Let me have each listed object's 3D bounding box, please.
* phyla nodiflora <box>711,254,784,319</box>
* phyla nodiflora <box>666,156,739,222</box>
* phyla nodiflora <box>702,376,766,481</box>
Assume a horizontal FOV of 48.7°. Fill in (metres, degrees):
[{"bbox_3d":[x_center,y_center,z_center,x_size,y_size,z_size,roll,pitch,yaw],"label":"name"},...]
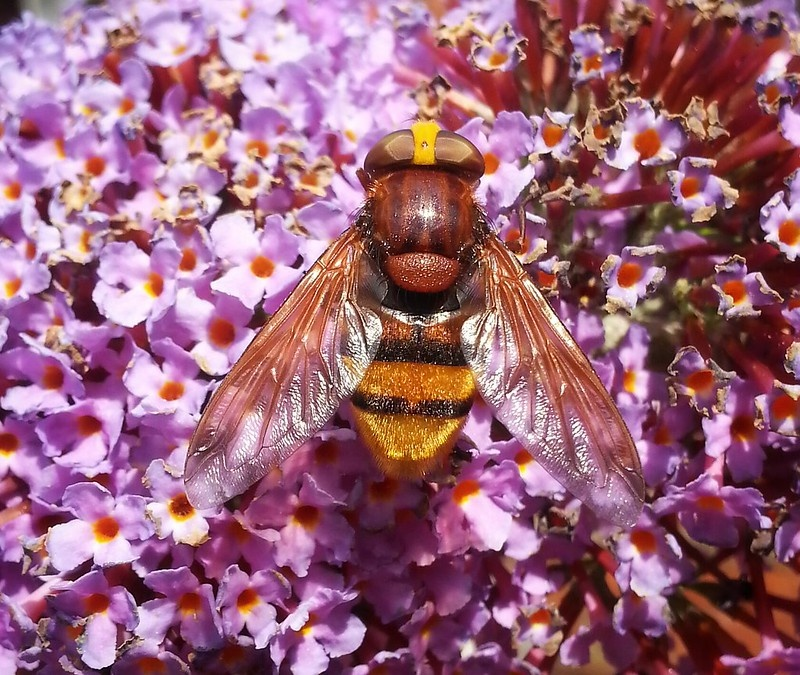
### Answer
[{"bbox_3d":[0.833,-0.121,2.120,0.145,0.080,0.143,-4,78,2],"label":"phyla nodiflora"},{"bbox_3d":[0.748,-0.364,2.198,0.138,0.127,0.158,-15,77,0],"label":"phyla nodiflora"},{"bbox_3d":[0.816,0.216,2.165,0.173,0.059,0.243,3,91,-10],"label":"phyla nodiflora"}]
